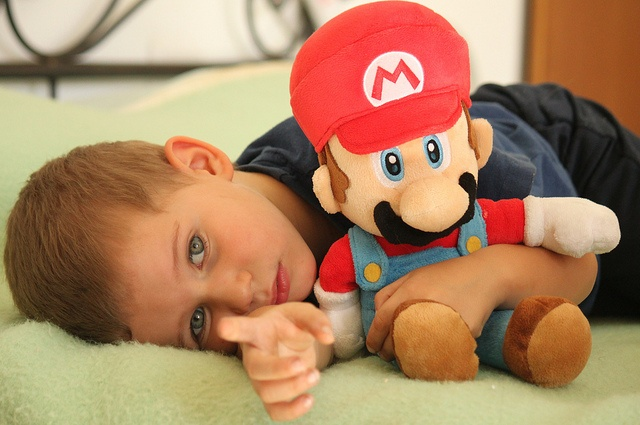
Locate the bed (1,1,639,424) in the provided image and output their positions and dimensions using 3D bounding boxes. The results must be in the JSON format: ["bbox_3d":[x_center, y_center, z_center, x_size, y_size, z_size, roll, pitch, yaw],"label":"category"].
[{"bbox_3d":[0.057,-0.016,1.301,1.048,0.368,0.755,-22,9,-26],"label":"bed"}]
